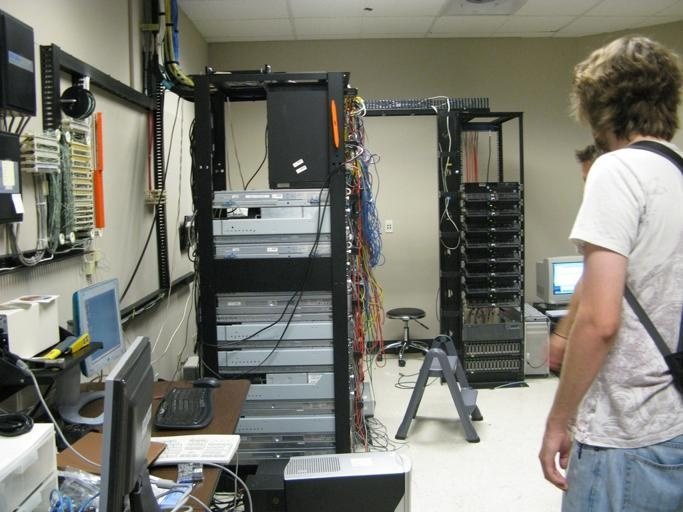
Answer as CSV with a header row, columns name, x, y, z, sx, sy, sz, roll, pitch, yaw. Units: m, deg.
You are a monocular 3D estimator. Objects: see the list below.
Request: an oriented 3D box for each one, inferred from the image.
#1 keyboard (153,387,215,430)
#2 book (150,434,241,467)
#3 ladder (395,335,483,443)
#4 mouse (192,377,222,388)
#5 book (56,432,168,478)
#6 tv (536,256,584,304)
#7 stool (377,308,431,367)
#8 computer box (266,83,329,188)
name,x,y,z,sx,sy,sz,roll,pitch,yaw
keyboard,-0.671,0.651,2.676,0.230,0.044,0.429,3,8,-9
book,-0.532,0.720,2.320,0.169,0.022,0.196,1,6,5
ladder,0.669,0.811,4.252,0.575,0.643,0.697,-1,1,9
mouse,-0.638,0.589,2.902,0.079,0.025,0.059,2,4,0
book,-0.940,0.726,2.275,0.274,0.070,0.284,3,3,2
tv,1.642,0.170,4.626,0.381,0.420,0.409,0,4,1
stool,0.597,0.686,5.671,0.480,0.477,0.507,1,12,33
computer box,-0.230,-0.650,3.368,0.408,0.570,0.380,-3,9,-15
